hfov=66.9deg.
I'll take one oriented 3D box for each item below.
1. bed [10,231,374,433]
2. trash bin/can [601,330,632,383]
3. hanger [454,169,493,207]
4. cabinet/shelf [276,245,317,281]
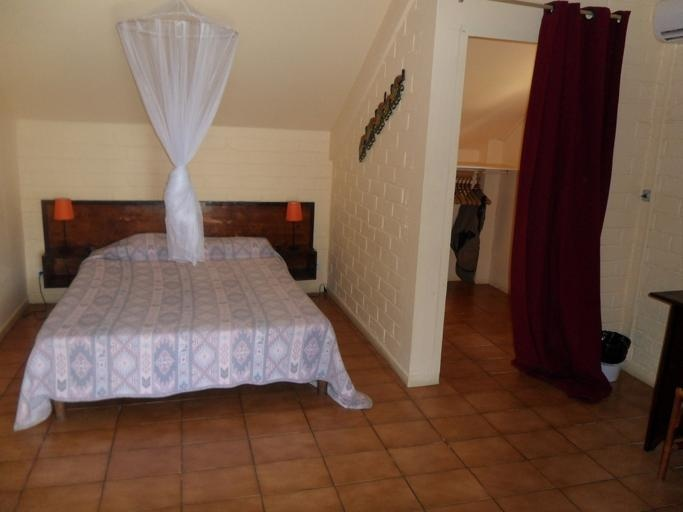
[{"bbox_3d":[-1.217,0.475,4.149,2.057,0.776,1.756,-5,19,-12],"label":"bed"},{"bbox_3d":[2.143,0.799,4.074,0.215,0.311,0.498,9,22,28],"label":"trash bin/can"},{"bbox_3d":[1.458,-0.767,5.791,0.490,0.491,0.250,0,-5,-7],"label":"hanger"},{"bbox_3d":[-0.474,0.053,5.301,0.399,0.380,0.331,0,5,-18],"label":"cabinet/shelf"}]
